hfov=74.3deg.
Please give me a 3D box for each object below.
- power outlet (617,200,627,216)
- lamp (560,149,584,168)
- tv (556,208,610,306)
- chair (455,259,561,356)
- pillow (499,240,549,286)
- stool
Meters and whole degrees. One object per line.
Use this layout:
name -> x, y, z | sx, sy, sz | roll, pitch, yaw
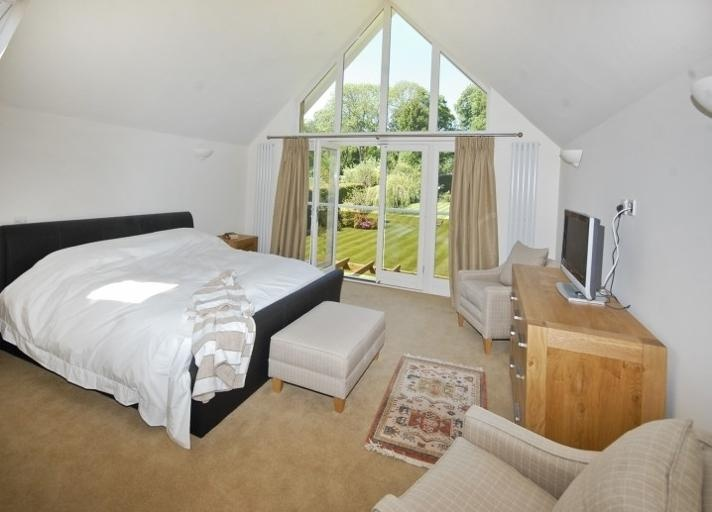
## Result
power outlet -> 2.051, -0.377, 3.608 | 0.097, 0.130, 0.089 | 1, 2, 25
lamp -> 2.073, -0.946, 4.519 | 0.140, 0.164, 0.421 | 5, 8, 12
tv -> 1.799, 0.022, 3.704 | 0.297, 0.694, 0.746 | 0, 4, 6
chair -> 1.607, 0.451, 5.142 | 0.913, 1.023, 0.994 | 1, 2, -7
pillow -> 1.780, 0.069, 4.937 | 0.225, 0.432, 0.459 | 13, 0, -9
stool -> -0.248, 0.838, 4.221 | 0.766, 0.630, 0.916 | 6, 8, 21
